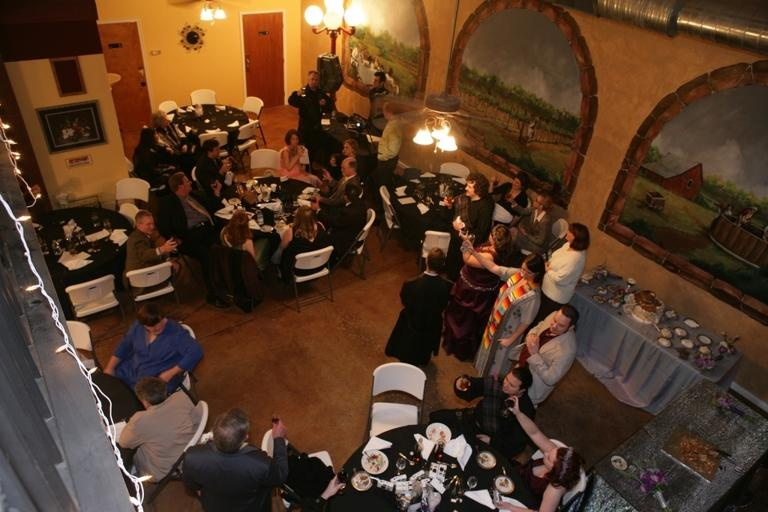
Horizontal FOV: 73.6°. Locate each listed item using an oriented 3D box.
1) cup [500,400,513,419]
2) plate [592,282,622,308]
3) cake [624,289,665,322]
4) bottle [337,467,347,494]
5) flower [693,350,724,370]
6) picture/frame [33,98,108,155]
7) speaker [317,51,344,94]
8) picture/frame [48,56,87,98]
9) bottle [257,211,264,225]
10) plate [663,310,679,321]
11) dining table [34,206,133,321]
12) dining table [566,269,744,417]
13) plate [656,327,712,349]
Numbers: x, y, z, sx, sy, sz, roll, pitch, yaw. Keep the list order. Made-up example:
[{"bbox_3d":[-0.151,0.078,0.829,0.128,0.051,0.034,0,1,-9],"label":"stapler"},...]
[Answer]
[{"bbox_3d":[1.224,1.521,5.099,0.055,0.187,0.105,9,21,-16],"label":"cup"},{"bbox_3d":[2.976,0.509,6.799,0.260,0.064,0.364,-6,30,2],"label":"plate"},{"bbox_3d":[3.328,0.512,6.575,0.385,0.526,0.188,17,42,27],"label":"cake"},{"bbox_3d":[-0.380,2.069,4.700,0.085,0.194,0.088,1,38,-1],"label":"bottle"},{"bbox_3d":[3.772,1.216,5.970,0.221,0.146,0.292,-6,12,-6],"label":"flower"},{"bbox_3d":[-4.777,-1.977,7.760,0.781,0.769,0.060,-20,38,-22],"label":"picture/frame"},{"bbox_3d":[-1.127,-3.729,10.481,0.461,0.686,0.376,13,29,17],"label":"speaker"},{"bbox_3d":[-4.609,-2.606,7.511,0.361,0.515,0.031,-10,15,-12],"label":"picture/frame"},{"bbox_3d":[-1.790,-0.532,7.421,0.098,0.168,0.101,2,39,-2],"label":"bottle"},{"bbox_3d":[3.641,0.757,6.508,0.132,0.041,0.140,5,54,13],"label":"plate"},{"bbox_3d":[-3.983,-0.236,6.857,1.408,0.905,1.439,-12,49,-25],"label":"dining table"},{"bbox_3d":[3.368,1.120,6.853,1.110,1.044,2.047,-30,39,-19],"label":"dining table"},{"bbox_3d":[3.657,1.014,6.280,0.435,0.067,0.317,6,34,21],"label":"plate"}]
